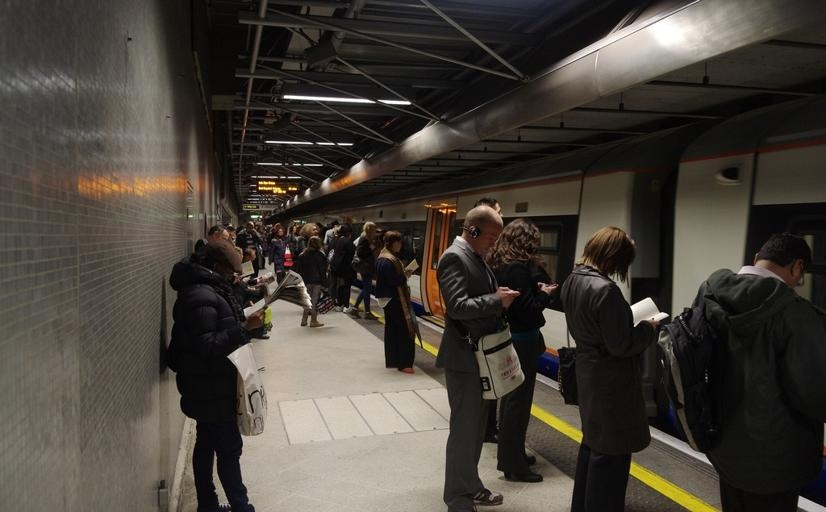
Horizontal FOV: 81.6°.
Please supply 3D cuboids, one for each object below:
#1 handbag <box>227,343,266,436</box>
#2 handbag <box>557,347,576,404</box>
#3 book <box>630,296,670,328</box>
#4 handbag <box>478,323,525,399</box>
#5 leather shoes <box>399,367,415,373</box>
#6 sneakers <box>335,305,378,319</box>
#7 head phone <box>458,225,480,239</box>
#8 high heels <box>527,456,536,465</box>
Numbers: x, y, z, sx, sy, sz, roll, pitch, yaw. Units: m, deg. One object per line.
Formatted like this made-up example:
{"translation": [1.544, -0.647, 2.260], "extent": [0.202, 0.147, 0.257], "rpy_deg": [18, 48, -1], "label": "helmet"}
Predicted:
{"translation": [-1.149, 0.968, 3.385], "extent": [0.262, 0.701, 0.207], "rpy_deg": [2, 8, 27], "label": "handbag"}
{"translation": [1.199, 0.924, 3.733], "extent": [0.120, 0.376, 0.301], "rpy_deg": [-1, 0, 17], "label": "handbag"}
{"translation": [1.738, 0.427, 3.523], "extent": [0.328, 0.114, 0.225], "rpy_deg": [-20, 16, -6], "label": "book"}
{"translation": [0.638, 0.810, 3.617], "extent": [0.311, 0.496, 0.132], "rpy_deg": [-4, 8, -24], "label": "handbag"}
{"translation": [-0.079, 1.688, 7.065], "extent": [0.081, 0.051, 0.198], "rpy_deg": [1, -4, -33], "label": "leather shoes"}
{"translation": [-1.370, 1.322, 11.246], "extent": [0.526, 0.215, 0.155], "rpy_deg": [23, -7, 1], "label": "sneakers"}
{"translation": [0.456, -0.188, 3.779], "extent": [0.095, 0.050, 0.109], "rpy_deg": [3, -35, 5], "label": "head phone"}
{"translation": [1.087, 1.899, 4.434], "extent": [0.093, 0.083, 0.052], "rpy_deg": [0, -5, 0], "label": "high heels"}
